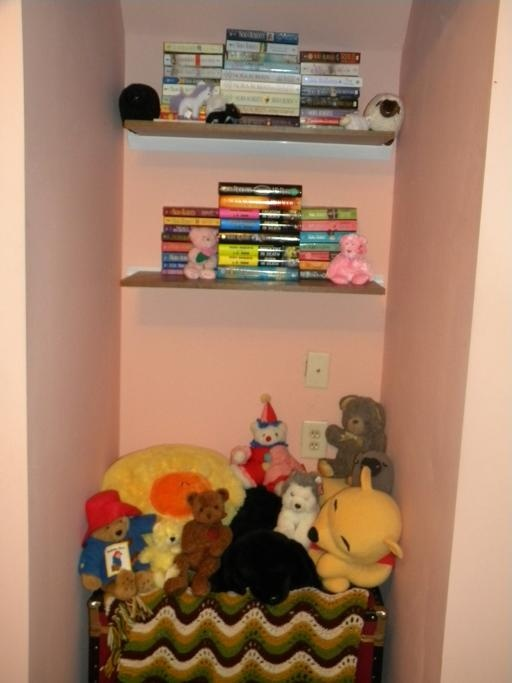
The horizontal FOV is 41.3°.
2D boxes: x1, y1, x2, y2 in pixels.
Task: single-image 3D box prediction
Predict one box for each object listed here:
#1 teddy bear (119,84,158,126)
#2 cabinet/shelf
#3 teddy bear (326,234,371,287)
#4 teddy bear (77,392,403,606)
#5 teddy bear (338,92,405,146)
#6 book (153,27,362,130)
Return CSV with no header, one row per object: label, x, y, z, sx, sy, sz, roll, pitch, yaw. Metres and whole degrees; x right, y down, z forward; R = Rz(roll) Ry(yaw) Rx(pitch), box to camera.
teddy bear,-0.322,-0.652,1.926,0.129,0.112,0.118,-1,9,-6
cabinet/shelf,0.023,-0.438,2.291,1.138,0.550,0.734,-4,6,-3
teddy bear,0.270,-0.233,1.942,0.127,0.137,0.118,-2,26,-2
teddy bear,-0.021,0.429,1.854,0.816,0.383,0.466,1,10,1
teddy bear,0.312,-0.612,1.847,0.172,0.115,0.112,1,16,8
book,0.009,-0.727,1.885,0.548,0.253,0.120,0,10,-5
